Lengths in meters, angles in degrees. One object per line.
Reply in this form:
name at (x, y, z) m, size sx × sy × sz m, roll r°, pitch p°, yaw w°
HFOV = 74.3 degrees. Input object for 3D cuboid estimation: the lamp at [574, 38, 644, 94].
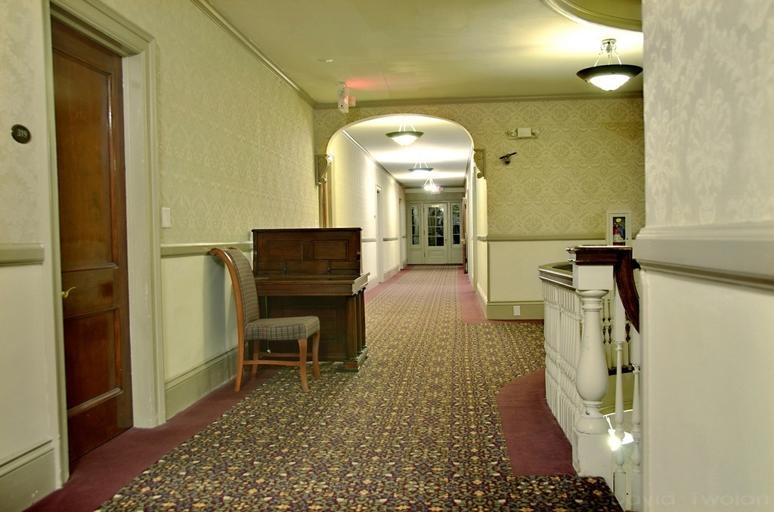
lamp at (2.622, -2.236, 6.010) m, size 0.808 × 0.565 × 0.778 m, roll -8°, pitch 12°, yaw -23°

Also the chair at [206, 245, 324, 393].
chair at (-1.169, 0.562, 4.953) m, size 1.007 × 1.314 × 0.999 m, roll -1°, pitch 7°, yaw -2°
